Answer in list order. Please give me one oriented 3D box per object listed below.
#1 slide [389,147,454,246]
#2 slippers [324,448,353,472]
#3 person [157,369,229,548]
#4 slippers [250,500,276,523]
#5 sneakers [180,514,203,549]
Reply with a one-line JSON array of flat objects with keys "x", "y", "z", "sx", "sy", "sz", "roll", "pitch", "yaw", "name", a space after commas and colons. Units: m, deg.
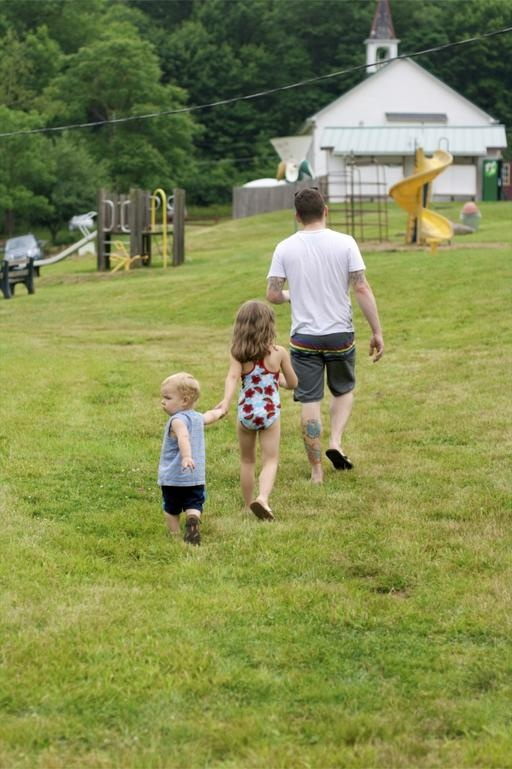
[{"x": 2.370, "y": -2.680, "z": 21.897, "sx": 0.748, "sy": 1.354, "sz": 0.686, "roll": -3, "pitch": 14, "yaw": -13, "name": "slide"}, {"x": 0.558, "y": 0.490, "z": 10.491, "sx": 0.092, "sy": 0.095, "sz": 0.236, "roll": -5, "pitch": -37, "yaw": 33, "name": "slippers"}, {"x": -0.422, "y": 0.428, "z": 9.101, "sx": 0.386, "sy": 0.970, "sz": 0.550, "roll": 1, "pitch": 11, "yaw": 16, "name": "person"}, {"x": 0.032, "y": 0.752, "z": 9.475, "sx": 0.141, "sy": 0.137, "sz": 0.173, "roll": -3, "pitch": 11, "yaw": -2, "name": "slippers"}, {"x": -0.379, "y": 0.852, "z": 9.074, "sx": 0.099, "sy": 0.156, "sz": 0.185, "roll": -3, "pitch": 11, "yaw": -4, "name": "sneakers"}]
